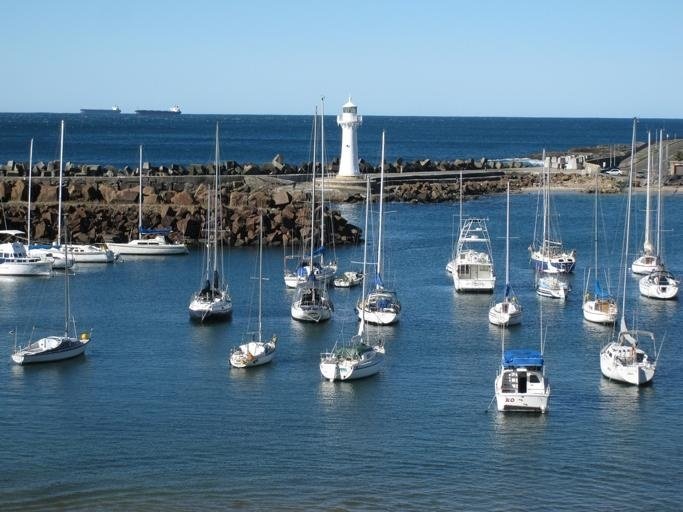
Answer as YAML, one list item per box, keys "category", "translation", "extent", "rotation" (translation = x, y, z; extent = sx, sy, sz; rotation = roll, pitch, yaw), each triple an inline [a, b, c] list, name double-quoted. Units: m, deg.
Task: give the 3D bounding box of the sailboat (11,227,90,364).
- category: "sailboat"
  translation: [-14.974, 2.395, 69.888]
  extent: [3.777, 4.794, 10.741]
  rotation: [-2, 5, -11]

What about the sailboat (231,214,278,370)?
- category: "sailboat"
  translation: [-4.726, 1.257, 75.227]
  extent: [2.246, 6.459, 22.168]
  rotation: [-1, 5, -3]

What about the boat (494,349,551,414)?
- category: "boat"
  translation: [8.297, 5.392, 61.180]
  extent: [2.426, 1.809, 5.558]
  rotation: [0, 10, 7]

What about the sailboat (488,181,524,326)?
- category: "sailboat"
  translation: [9.209, -0.093, 73.990]
  extent: [1.684, 7.222, 6.372]
  rotation: [2, 8, 7]
